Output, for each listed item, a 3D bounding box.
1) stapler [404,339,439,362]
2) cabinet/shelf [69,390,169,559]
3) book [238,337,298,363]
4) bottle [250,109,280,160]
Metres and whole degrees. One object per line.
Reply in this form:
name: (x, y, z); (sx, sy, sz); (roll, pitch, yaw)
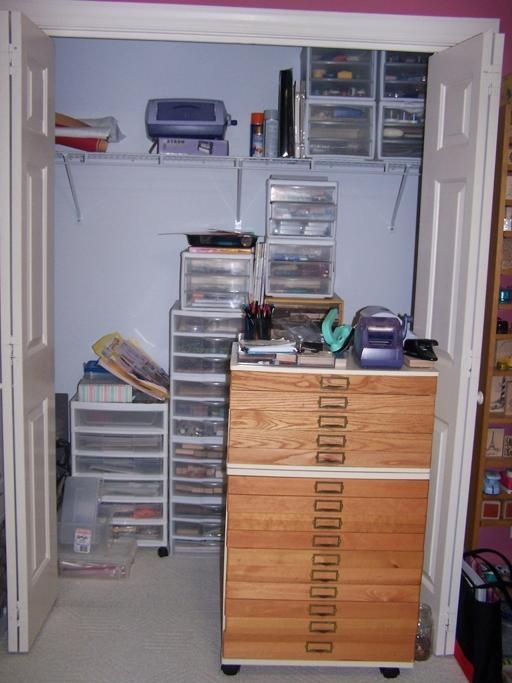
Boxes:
stapler: (0.541, 0.025, 2.057); (0.049, 0.057, 0.147); (-2, 2, -12)
cabinet/shelf: (-0.515, 0.586, 3.025); (0.445, 0.666, 0.385); (-5, 3, 26)
book: (0.039, 0.028, 2.037); (0.189, 0.049, 0.190); (0, 10, 0)
bottle: (0.040, -0.934, 2.847); (0.122, 0.201, 0.075); (1, 10, 8)
